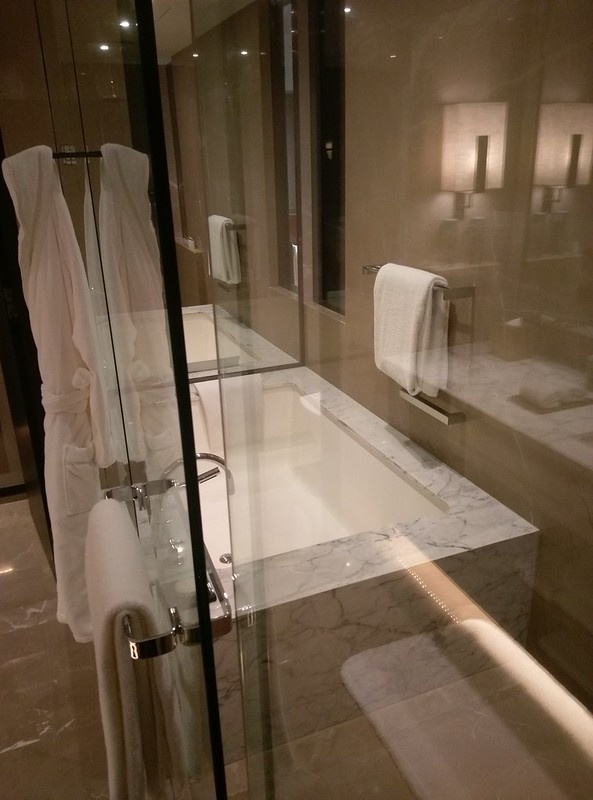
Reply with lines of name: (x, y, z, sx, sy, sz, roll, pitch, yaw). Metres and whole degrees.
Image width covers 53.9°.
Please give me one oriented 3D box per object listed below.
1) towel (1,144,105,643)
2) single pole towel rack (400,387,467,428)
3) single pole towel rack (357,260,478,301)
towel: (-0.508, 0.100, 1.317, 0.155, 1.219, 0.319, -9, 17, -23)
single pole towel rack: (0.205, 0.015, 0.854, 0.040, 0.020, 0.078, -13, 32, -39)
single pole towel rack: (0.166, -0.162, 0.794, 0.151, 0.051, 0.018, 2, 16, 15)
